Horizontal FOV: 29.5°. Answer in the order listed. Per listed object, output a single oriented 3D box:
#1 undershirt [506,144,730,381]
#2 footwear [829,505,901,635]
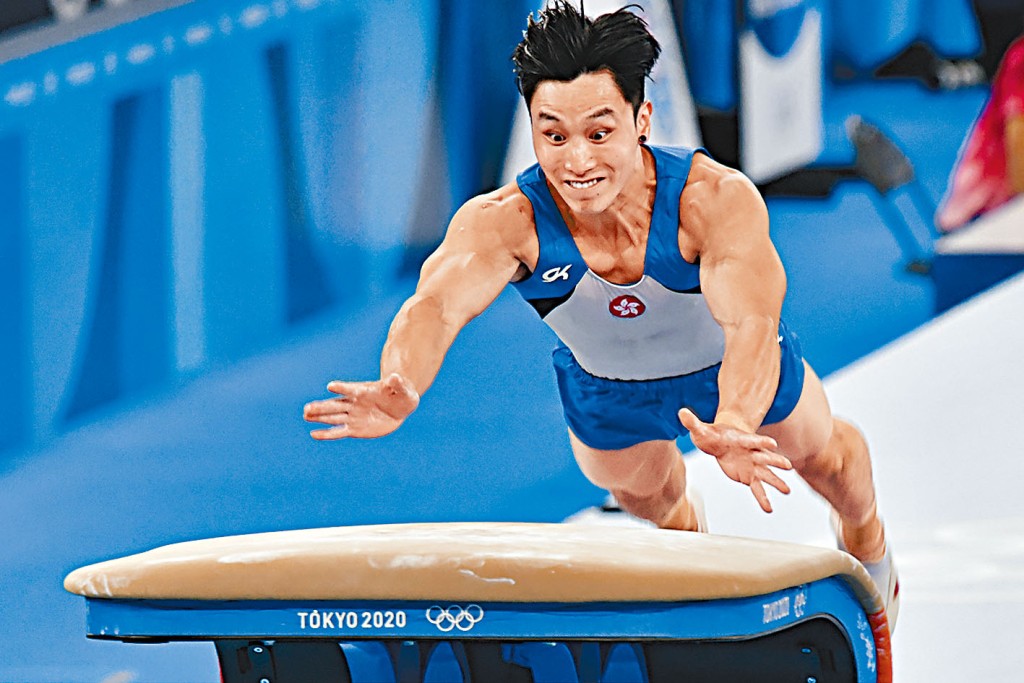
[{"bbox_3d":[0.301,-0.068,5.854,0.643,0.400,0.659,-4,56,-6],"label":"undershirt"},{"bbox_3d":[1.159,0.755,6.071,0.172,0.483,0.196,-14,-7,30],"label":"footwear"}]
